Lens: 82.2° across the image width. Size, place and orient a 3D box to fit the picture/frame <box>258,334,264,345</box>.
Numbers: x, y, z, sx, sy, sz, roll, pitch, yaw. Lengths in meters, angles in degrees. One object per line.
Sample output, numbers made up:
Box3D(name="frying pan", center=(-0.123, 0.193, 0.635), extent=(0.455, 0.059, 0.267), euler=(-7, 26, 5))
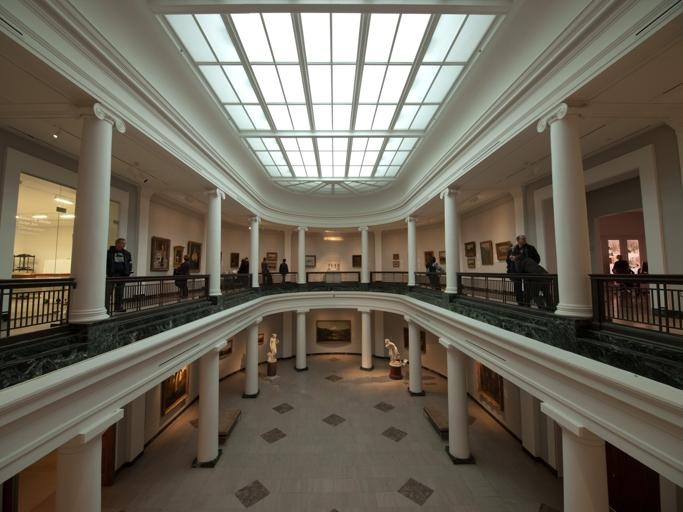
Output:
Box3D(name="picture/frame", center=(-4.391, 4.565, 21.588), extent=(0.146, 0.740, 0.485), euler=(2, 6, 24))

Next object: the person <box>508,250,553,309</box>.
Box3D(name="person", center=(4.615, 0.613, 9.636), extent=(0.525, 0.431, 1.512), euler=(-7, 15, 9))

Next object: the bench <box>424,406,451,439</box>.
Box3D(name="bench", center=(3.489, 5.843, 13.850), extent=(0.398, 0.243, 1.282), euler=(-1, 3, -3))
